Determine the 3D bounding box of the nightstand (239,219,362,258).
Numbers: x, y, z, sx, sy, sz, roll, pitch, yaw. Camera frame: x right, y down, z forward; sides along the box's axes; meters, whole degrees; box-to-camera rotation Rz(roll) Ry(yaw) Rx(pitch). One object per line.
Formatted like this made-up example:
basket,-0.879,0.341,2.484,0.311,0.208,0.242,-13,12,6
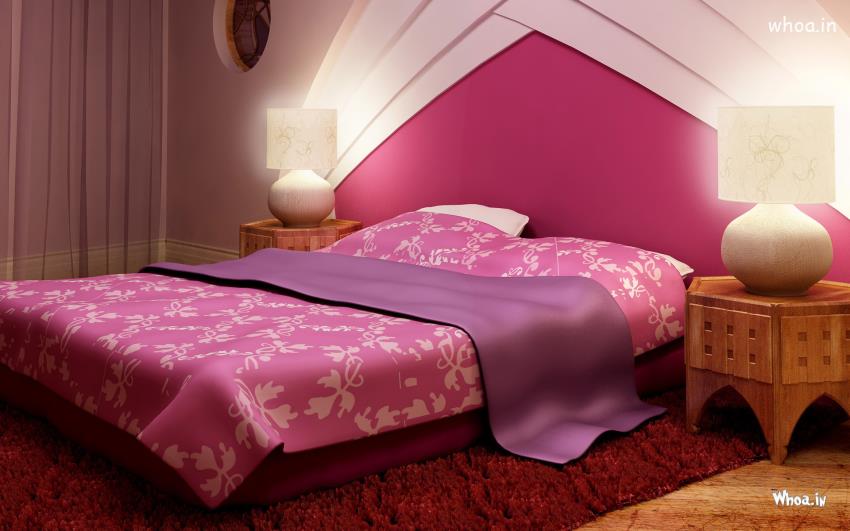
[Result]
nightstand,-0.876,-0.196,4.107,0.414,0.247,0.411,-3,6,-29
